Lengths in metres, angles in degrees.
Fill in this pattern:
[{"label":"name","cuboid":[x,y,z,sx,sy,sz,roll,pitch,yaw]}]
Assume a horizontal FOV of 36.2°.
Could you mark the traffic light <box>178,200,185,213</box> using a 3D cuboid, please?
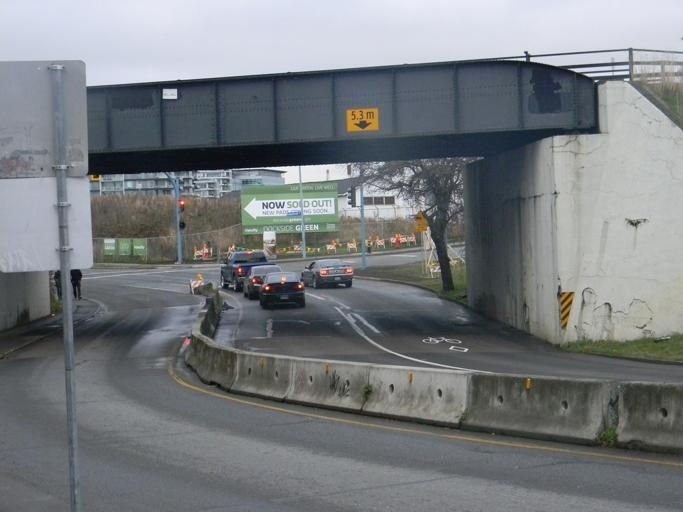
[{"label":"traffic light","cuboid":[-10.932,-3.367,71.291,0.258,0.773,0.913,-2,4,-14]}]
